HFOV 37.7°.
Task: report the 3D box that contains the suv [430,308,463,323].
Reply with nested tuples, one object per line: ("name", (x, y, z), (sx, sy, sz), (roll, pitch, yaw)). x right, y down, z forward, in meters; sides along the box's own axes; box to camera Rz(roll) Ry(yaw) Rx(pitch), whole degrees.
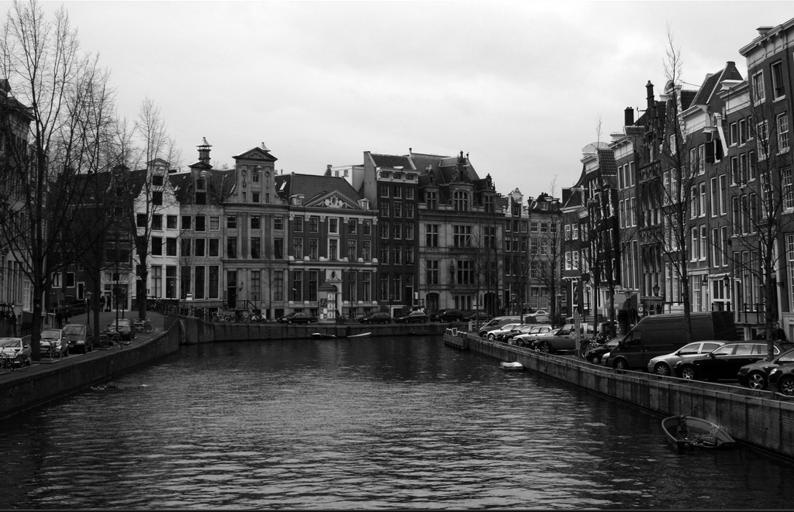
("suv", (6.639, 7.763, 147.510), (2.869, 1.335, 1.774), (3, -5, -13))

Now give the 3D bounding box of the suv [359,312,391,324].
("suv", (-2.586, 7.697, 139.188), (2.558, 1.088, 1.544), (3, -6, -17))

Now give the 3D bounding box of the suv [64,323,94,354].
("suv", (-23.109, 6.143, 83.952), (1.703, 1.492, 3.179), (0, -6, -15))

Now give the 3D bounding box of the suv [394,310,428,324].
("suv", (1.647, 7.696, 142.775), (3.445, 1.253, 1.560), (2, -6, -17))

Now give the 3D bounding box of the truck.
("truck", (17.258, 5.403, 72.543), (6.518, 3.135, 3.769), (-2, -5, 19))
